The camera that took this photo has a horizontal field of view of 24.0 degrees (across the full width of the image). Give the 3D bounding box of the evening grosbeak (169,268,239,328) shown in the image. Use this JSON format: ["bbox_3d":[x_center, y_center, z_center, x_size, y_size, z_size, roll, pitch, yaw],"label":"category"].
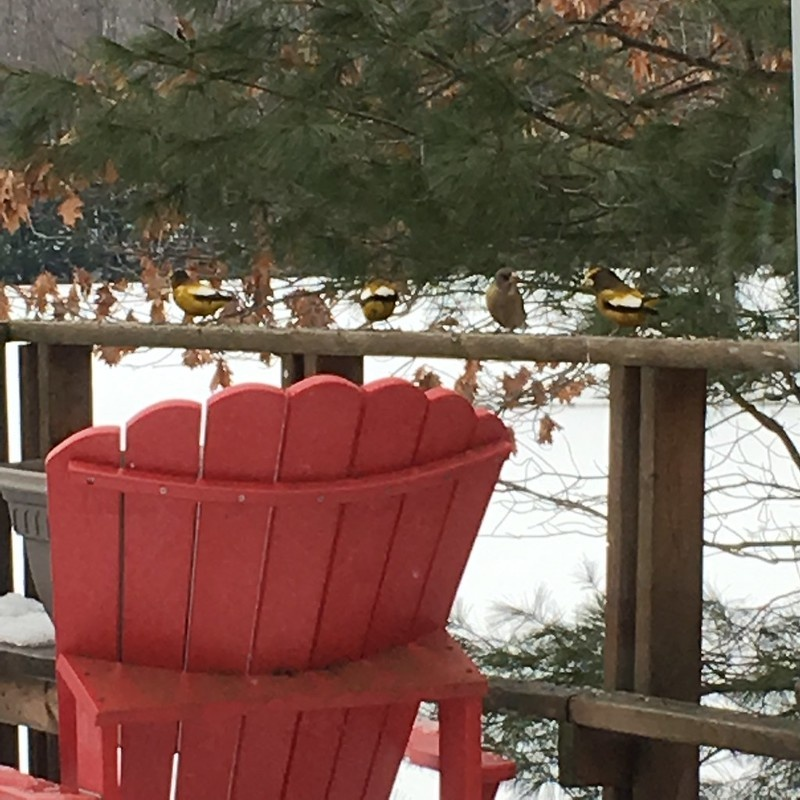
[{"bbox_3d":[-0.485,-0.265,4.635,0.163,0.132,0.097,-3,11,-20],"label":"evening grosbeak"}]

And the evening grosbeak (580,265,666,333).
[{"bbox_3d":[0.499,-0.224,4.246,0.180,0.151,0.098,0,3,21],"label":"evening grosbeak"}]

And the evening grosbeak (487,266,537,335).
[{"bbox_3d":[0.260,-0.241,4.455,0.093,0.170,0.176,6,12,19],"label":"evening grosbeak"}]

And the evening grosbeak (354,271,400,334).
[{"bbox_3d":[-0.049,-0.238,4.525,0.079,0.111,0.107,6,30,6],"label":"evening grosbeak"}]
